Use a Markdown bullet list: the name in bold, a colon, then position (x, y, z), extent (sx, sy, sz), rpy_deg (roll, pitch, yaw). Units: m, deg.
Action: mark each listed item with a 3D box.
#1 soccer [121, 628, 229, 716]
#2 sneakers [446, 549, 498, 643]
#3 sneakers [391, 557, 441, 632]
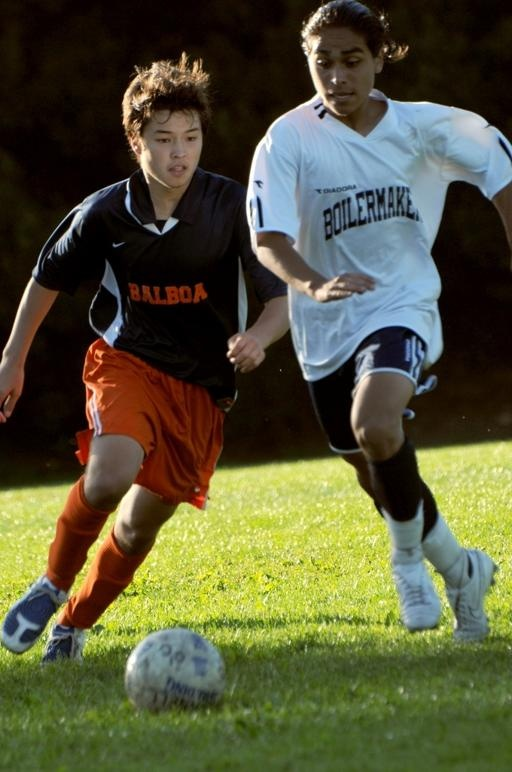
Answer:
- **soccer**: position (-0.183, 0.712, 2.008), extent (0.250, 0.235, 0.260), rpy_deg (8, -19, -33)
- **sneakers**: position (0.681, 0.677, 2.661), extent (0.111, 0.306, 0.158), rpy_deg (-5, -6, 32)
- **sneakers**: position (0.468, 0.605, 2.373), extent (0.127, 0.214, 0.109), rpy_deg (-5, -7, 7)
